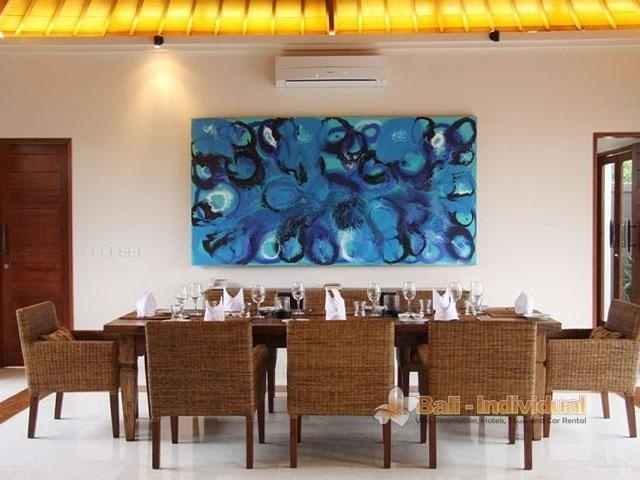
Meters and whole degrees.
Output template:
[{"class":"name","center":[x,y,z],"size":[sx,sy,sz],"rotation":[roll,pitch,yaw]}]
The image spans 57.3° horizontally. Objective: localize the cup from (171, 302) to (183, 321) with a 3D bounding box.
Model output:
[{"class":"cup","center":[-1.086,0.564,4.535],"size":[0.115,0.114,0.117],"rotation":[-1,-2,0]}]

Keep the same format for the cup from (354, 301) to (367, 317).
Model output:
[{"class":"cup","center":[0.321,0.554,4.649],"size":[0.121,0.108,0.112],"rotation":[2,-2,0]}]

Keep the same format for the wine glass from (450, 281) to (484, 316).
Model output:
[{"class":"wine glass","center":[1.188,0.487,4.753],"size":[0.289,0.230,0.157],"rotation":[1,-6,-21]}]

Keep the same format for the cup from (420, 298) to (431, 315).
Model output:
[{"class":"cup","center":[0.883,0.565,4.922],"size":[0.127,0.127,0.072],"rotation":[0,-5,1]}]
